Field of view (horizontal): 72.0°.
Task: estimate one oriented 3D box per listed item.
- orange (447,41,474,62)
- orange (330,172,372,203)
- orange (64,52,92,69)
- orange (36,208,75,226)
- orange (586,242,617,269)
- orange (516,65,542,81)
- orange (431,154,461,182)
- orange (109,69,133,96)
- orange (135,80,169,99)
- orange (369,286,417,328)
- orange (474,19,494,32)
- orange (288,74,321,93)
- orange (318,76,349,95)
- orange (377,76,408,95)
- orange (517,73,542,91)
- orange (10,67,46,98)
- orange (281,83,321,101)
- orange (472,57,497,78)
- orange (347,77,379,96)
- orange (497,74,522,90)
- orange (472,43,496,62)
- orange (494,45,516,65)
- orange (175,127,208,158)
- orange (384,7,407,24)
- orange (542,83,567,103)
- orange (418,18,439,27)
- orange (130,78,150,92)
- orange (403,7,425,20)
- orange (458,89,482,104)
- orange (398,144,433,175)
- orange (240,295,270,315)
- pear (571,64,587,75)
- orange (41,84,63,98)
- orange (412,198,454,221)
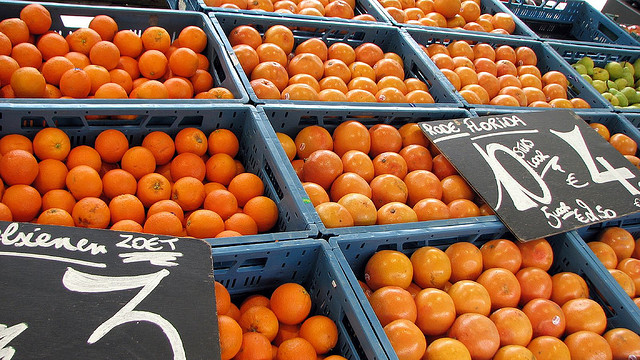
[{"bbox_3d":[1.438,-1.321,4.553,0.192,0.201,0.228,7,62,57],"label":"orange"},{"bbox_3d":[0.216,0.041,3.231,0.224,0.218,0.215,5,72,-16],"label":"orange"},{"bbox_3d":[-1.847,-0.932,3.393,0.152,0.141,0.144,0,60,-18],"label":"orange"},{"bbox_3d":[-1.606,0.208,2.691,0.153,0.144,0.160,-4,-5,41],"label":"orange"},{"bbox_3d":[2.054,0.569,3.325,0.202,0.187,0.195,7,72,-15],"label":"orange"},{"bbox_3d":[2.111,-1.102,4.530,0.179,0.176,0.211,3,11,2],"label":"orange"},{"bbox_3d":[0.977,-0.104,3.496,0.191,0.223,0.190,-4,25,4],"label":"orange"},{"bbox_3d":[-1.539,-0.785,3.462,0.157,0.135,0.194,-9,53,-23],"label":"orange"},{"bbox_3d":[-1.238,-0.669,3.273,0.172,0.160,0.168,-13,79,-23],"label":"orange"},{"bbox_3d":[0.426,0.759,2.664,0.235,0.218,0.223,2,62,-9],"label":"orange"},{"bbox_3d":[1.827,-1.727,4.946,0.163,0.160,0.193,4,18,3],"label":"orange"},{"bbox_3d":[-0.119,-0.862,3.770,0.181,0.207,0.178,-35,46,-27],"label":"orange"},{"bbox_3d":[0.132,-0.823,3.793,0.180,0.172,0.207,-7,7,-7],"label":"orange"},{"bbox_3d":[0.641,-0.850,3.972,0.182,0.207,0.179,-15,7,-11],"label":"orange"},{"bbox_3d":[2.089,-1.001,4.410,0.203,0.172,0.171,20,66,41],"label":"orange"},{"bbox_3d":[-2.050,-0.678,3.126,0.203,0.190,0.201,-21,58,-30],"label":"orange"},{"bbox_3d":[-0.152,-0.711,3.577,0.222,0.167,0.165,10,88,-4],"label":"orange"},{"bbox_3d":[1.623,-1.117,4.431,0.200,0.235,0.201,-1,0,6],"label":"orange"},{"bbox_3d":[0.366,-0.842,3.845,0.207,0.177,0.184,-6,31,7],"label":"orange"},{"bbox_3d":[1.831,-0.958,4.305,0.157,0.156,0.187,1,13,4],"label":"orange"},{"bbox_3d":[1.657,-1.334,4.574,0.191,0.188,0.227,0,22,1],"label":"orange"},{"bbox_3d":[1.903,-1.334,4.654,0.190,0.191,0.225,2,29,2],"label":"orange"},{"bbox_3d":[-0.898,-0.277,3.226,0.207,0.204,0.204,-18,58,-10],"label":"orange"},{"bbox_3d":[0.801,-1.749,4.622,0.197,0.205,0.104,28,45,31],"label":"orange"},{"bbox_3d":[2.293,-0.857,4.335,0.170,0.143,0.138,-20,64,-34],"label":"orange"},{"bbox_3d":[1.162,-1.667,4.684,0.156,0.092,0.109,6,10,-3],"label":"orange"},{"bbox_3d":[-1.411,-0.773,3.515,0.112,0.063,0.090,-20,28,26],"label":"orange"},{"bbox_3d":[1.034,-1.809,4.777,0.167,0.158,0.165,0,16,-1],"label":"orange"},{"bbox_3d":[1.330,-0.749,3.988,0.149,0.147,0.175,-2,35,-14],"label":"orange"},{"bbox_3d":[0.760,-0.181,3.523,0.220,0.216,0.209,-18,32,-8],"label":"orange"},{"bbox_3d":[-0.386,0.745,2.681,0.125,0.122,0.123,2,50,-10],"label":"orange"},{"bbox_3d":[2.867,-1.242,4.881,0.129,0.122,0.146,5,10,-36],"label":"pear"},{"bbox_3d":[-1.930,-0.643,3.206,0.106,0.100,0.102,7,78,-30],"label":"orange"},{"bbox_3d":[0.801,0.213,3.101,0.184,0.172,0.175,-1,26,-6],"label":"orange"}]
